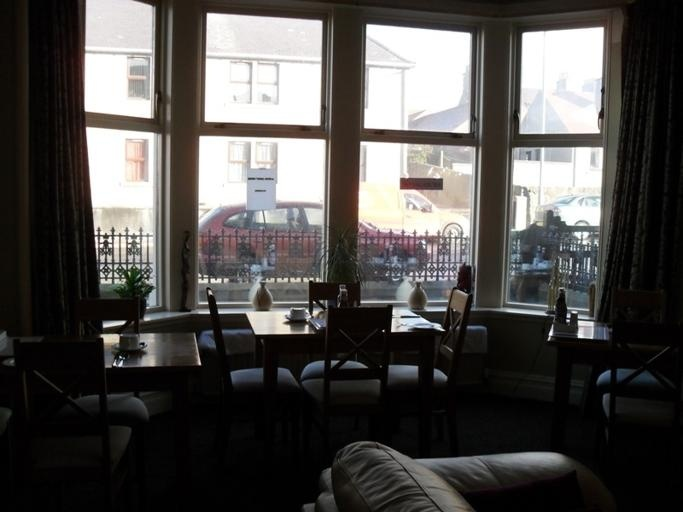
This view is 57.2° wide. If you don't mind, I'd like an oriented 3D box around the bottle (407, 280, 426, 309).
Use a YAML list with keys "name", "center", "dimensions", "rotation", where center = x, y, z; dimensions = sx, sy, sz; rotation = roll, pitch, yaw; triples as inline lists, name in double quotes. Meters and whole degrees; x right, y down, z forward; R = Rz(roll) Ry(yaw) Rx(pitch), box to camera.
- name: "bottle"
  center: [0.716, 0.372, 6.039]
  dimensions: [0.200, 0.322, 0.219]
  rotation: [-1, 5, 0]

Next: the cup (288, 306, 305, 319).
- name: "cup"
  center: [-0.342, 0.439, 4.817]
  dimensions: [0.097, 0.076, 0.078]
  rotation: [-1, 10, -9]

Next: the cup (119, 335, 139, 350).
- name: "cup"
  center: [-1.383, 0.568, 4.060]
  dimensions: [0.095, 0.077, 0.098]
  rotation: [0, 0, 0]

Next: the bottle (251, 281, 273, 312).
- name: "bottle"
  center: [-0.705, 0.371, 5.708]
  dimensions: [0.218, 0.342, 0.231]
  rotation: [0, 2, 0]

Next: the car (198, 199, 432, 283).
- name: "car"
  center: [-0.339, -0.255, 6.224]
  dimensions: [1.814, 0.694, 0.824]
  rotation: [-2, 4, -10]
